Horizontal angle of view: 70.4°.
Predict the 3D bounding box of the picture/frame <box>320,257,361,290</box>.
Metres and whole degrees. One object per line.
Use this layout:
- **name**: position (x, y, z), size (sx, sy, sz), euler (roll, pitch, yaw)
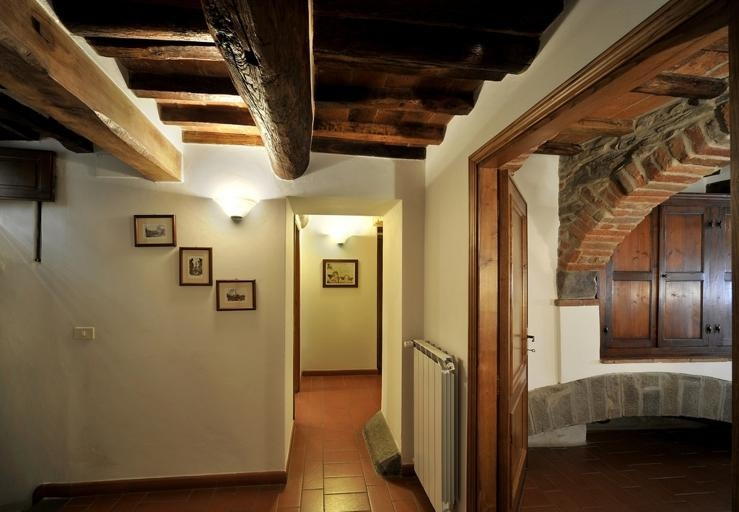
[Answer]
- **picture/frame**: position (-0.452, 0.269, 7.511), size (0.480, 0.385, 0.036), euler (1, -4, -10)
